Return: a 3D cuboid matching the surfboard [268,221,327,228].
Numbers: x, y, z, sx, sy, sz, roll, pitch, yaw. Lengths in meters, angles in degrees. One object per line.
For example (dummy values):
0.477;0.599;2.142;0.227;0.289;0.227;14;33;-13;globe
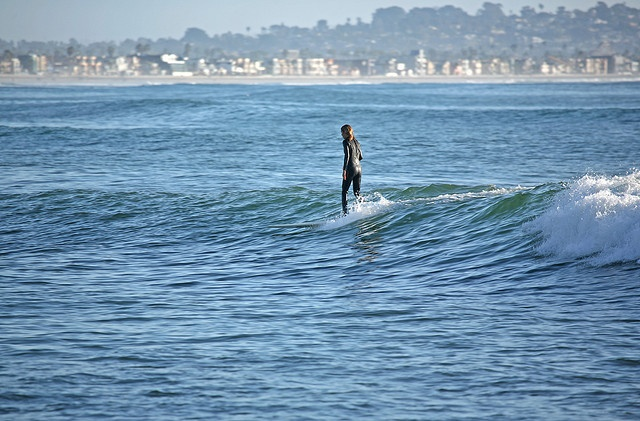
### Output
-0.756;0.423;36.970;1.740;0.178;0.797;-1;12;-8;surfboard
